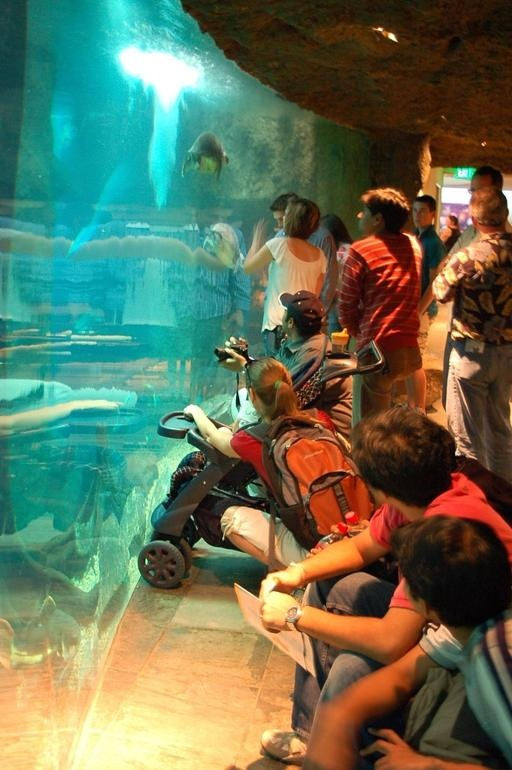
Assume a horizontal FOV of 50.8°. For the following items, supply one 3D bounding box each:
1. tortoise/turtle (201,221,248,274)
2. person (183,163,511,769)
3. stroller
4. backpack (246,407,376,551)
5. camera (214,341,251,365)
[{"bbox_3d":[-0.258,-1.232,4.692,0.307,0.418,0.407,-19,-27,-8],"label":"tortoise/turtle"},{"bbox_3d":[0.446,0.565,2.205,0.956,2.108,0.813,0,-6,21],"label":"person"},{"bbox_3d":[0.031,0.375,2.967,1.203,1.380,0.808,4,18,13],"label":"stroller"},{"bbox_3d":[0.255,0.318,2.173,0.455,0.533,0.393,-3,17,-35],"label":"backpack"},{"bbox_3d":[-0.121,-0.156,2.687,0.117,0.071,0.110,-1,15,-21],"label":"camera"}]
